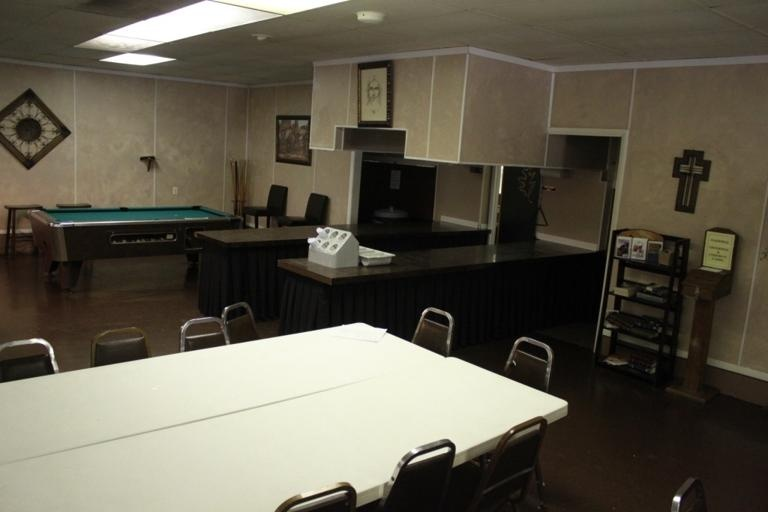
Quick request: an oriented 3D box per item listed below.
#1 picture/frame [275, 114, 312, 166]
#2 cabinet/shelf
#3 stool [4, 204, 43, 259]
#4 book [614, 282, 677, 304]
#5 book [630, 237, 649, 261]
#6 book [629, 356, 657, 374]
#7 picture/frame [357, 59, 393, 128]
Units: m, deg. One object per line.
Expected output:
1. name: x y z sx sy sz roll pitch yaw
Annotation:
1. picture/frame: -1.734 -2.247 10.361 0.188 0.990 1.217 -8 12 -38
2. cabinet/shelf: 2.869 0.517 6.069 0.878 1.642 0.736 6 11 32
3. stool: -5.867 -0.398 8.767 0.591 0.878 0.633 -7 25 -38
4. book: 2.863 0.406 5.965 0.351 0.071 0.335 -11 17 -40
5. book: 2.792 -0.087 5.880 0.036 0.312 0.224 -1 6 -43
6. book: 2.850 1.183 5.905 0.192 0.052 0.196 -5 9 -43
7. picture/frame: -0.091 -2.022 6.632 0.105 1.007 0.793 -7 13 -41
